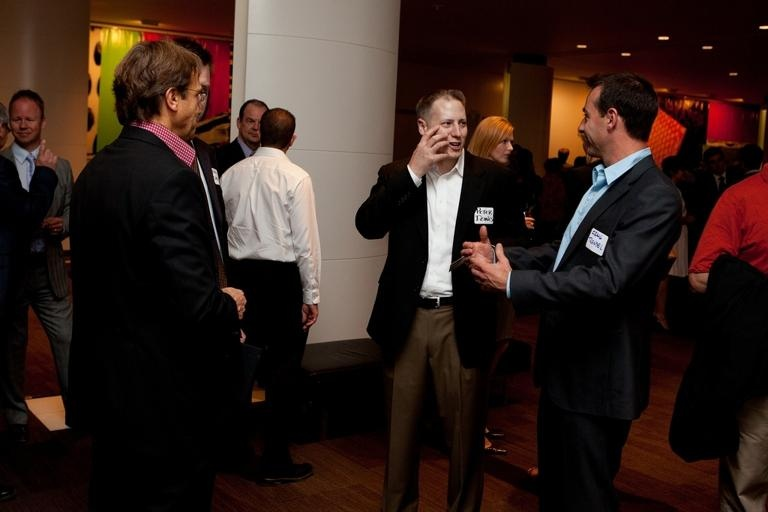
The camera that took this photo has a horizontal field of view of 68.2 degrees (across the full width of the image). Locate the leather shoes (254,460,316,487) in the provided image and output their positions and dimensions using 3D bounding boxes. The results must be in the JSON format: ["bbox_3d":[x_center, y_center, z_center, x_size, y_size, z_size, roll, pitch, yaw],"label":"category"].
[{"bbox_3d":[-0.645,1.345,3.688,0.373,0.182,0.143,-4,4,-21],"label":"leather shoes"}]
